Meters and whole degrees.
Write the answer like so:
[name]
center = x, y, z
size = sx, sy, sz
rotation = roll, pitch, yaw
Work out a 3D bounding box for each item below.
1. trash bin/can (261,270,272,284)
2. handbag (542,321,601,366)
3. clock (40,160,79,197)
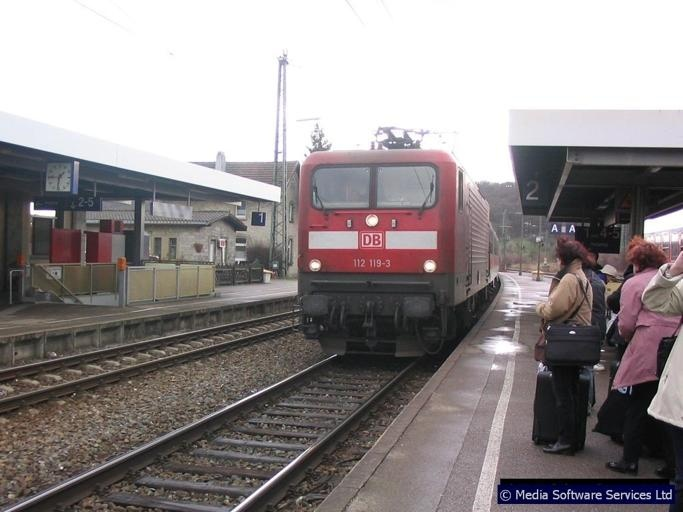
[trash bin/can]
center = -4.498, 1.233, 35.449
size = 0.544, 0.627, 0.818
rotation = -2, 0, 13
[handbag]
center = 2.282, 0.851, 5.825
size = 0.500, 0.403, 0.444
rotation = 0, -1, 13
[clock]
center = -8.018, -2.236, 16.865
size = 0.843, 1.034, 0.343
rotation = -3, -7, 9
